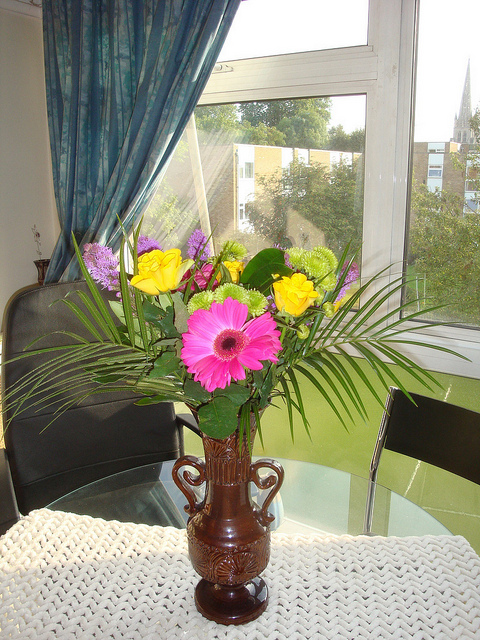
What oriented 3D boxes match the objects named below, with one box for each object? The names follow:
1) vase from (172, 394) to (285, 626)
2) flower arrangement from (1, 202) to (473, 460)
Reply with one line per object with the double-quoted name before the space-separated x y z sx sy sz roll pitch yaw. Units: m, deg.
"vase" -0.014 0.241 0.581 0.137 0.273 0.108 -1 9 -2
"flower arrangement" -0.028 0.005 0.551 0.372 0.215 0.391 -4 -22 -2
